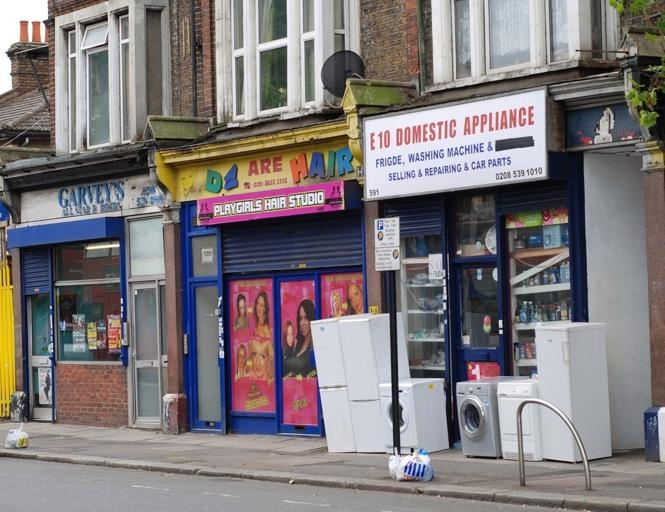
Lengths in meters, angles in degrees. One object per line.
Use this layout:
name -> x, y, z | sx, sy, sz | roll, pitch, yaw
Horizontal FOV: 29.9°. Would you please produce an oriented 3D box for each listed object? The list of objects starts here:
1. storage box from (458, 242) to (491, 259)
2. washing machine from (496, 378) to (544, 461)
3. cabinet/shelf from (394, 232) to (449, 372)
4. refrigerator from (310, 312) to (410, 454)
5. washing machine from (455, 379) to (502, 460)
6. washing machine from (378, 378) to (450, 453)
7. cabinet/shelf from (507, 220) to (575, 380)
storage box -> 2.368, -0.097, 20.639 | 0.677, 0.275, 0.069 | -10, -9, 42
washing machine -> 2.970, 2.503, 19.173 | 0.702, 1.147, 0.751 | -5, 2, -24
cabinet/shelf -> 1.564, 0.828, 21.246 | 0.626, 2.401, 0.721 | -2, -1, -40
refrigerator -> 0.666, 2.064, 21.042 | 1.448, 2.301, 1.382 | -5, -1, 34
washing machine -> 2.309, 2.560, 19.445 | 0.697, 1.208, 0.293 | -5, -6, 18
washing machine -> 1.292, 2.532, 20.319 | 0.961, 1.214, 0.984 | -1, 0, -37
cabinet/shelf -> 3.422, 0.582, 20.070 | 0.692, 2.476, 0.887 | -1, -1, -40
